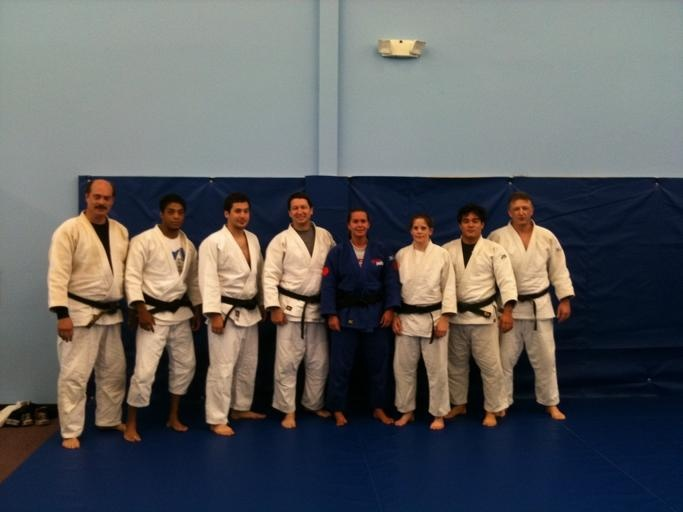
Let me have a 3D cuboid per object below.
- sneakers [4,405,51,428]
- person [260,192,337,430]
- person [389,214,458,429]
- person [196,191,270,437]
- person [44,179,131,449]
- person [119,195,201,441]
[{"bbox_3d":[-2.711,1.388,6.739,0.295,0.119,0.170,4,-2,-8],"label":"sneakers"},{"bbox_3d":[-0.365,0.458,6.628,0.620,1.964,0.362,0,-4,-8],"label":"person"},{"bbox_3d":[0.696,0.553,6.550,0.521,1.793,0.235,-1,-4,4],"label":"person"},{"bbox_3d":[-0.932,0.484,6.547,0.544,1.986,0.459,0,-4,-6],"label":"person"},{"bbox_3d":[-2.043,0.467,6.284,0.610,2.117,0.436,1,-4,-17],"label":"person"},{"bbox_3d":[-1.463,0.503,6.401,0.627,1.985,0.354,1,-4,-18],"label":"person"}]
